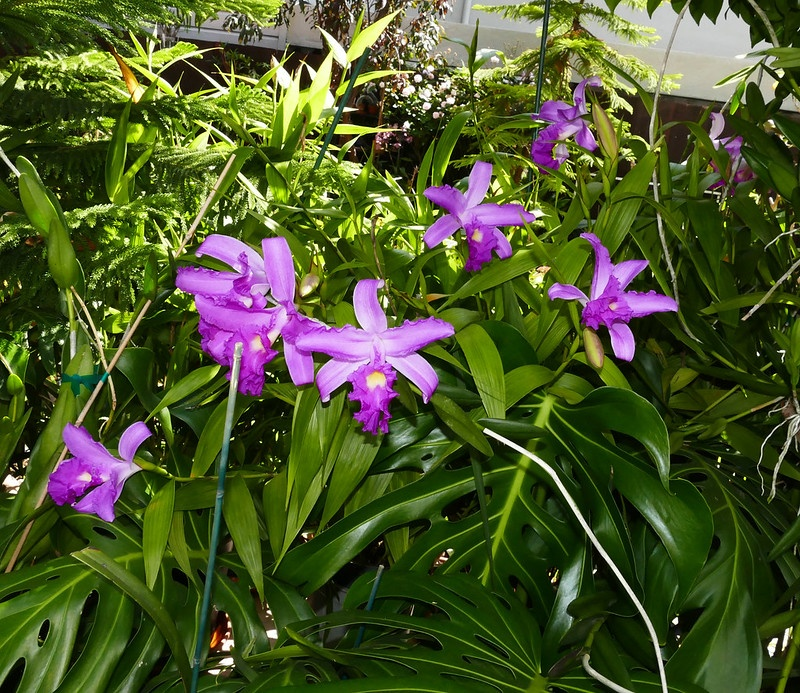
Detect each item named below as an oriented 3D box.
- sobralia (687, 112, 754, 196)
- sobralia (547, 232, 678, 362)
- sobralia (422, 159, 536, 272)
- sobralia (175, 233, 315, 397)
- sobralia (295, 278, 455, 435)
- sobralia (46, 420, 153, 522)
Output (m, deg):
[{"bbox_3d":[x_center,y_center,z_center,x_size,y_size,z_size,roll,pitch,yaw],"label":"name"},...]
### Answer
[{"bbox_3d":[0.494,-0.285,1.009,0.077,0.105,0.308,17,22,23],"label":"sobralia"},{"bbox_3d":[0.215,-0.047,0.696,0.134,0.067,0.128,-18,56,-21],"label":"sobralia"},{"bbox_3d":[0.078,-0.141,0.731,0.109,0.120,0.047,28,-1,-25],"label":"sobralia"},{"bbox_3d":[-0.138,-0.029,0.620,0.133,0.151,0.041,13,18,12],"label":"sobralia"},{"bbox_3d":[-0.020,0.008,0.610,0.133,0.065,0.164,1,34,7],"label":"sobralia"},{"bbox_3d":[-0.295,0.121,0.655,0.098,0.095,0.040,51,30,10],"label":"sobralia"}]
